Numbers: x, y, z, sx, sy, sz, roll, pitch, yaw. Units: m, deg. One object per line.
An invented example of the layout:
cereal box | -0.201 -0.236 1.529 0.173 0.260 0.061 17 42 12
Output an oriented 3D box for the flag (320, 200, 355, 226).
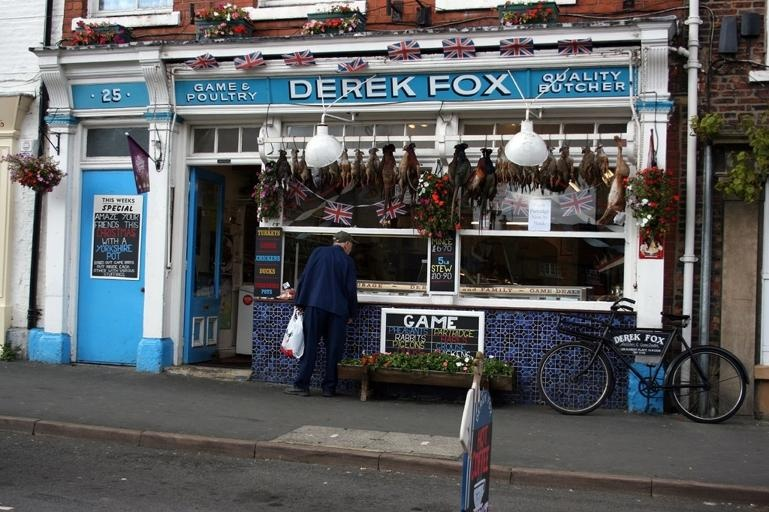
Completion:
flag | -0.780 -0.741 16.269 0.395 0.279 0.019 12 15 18

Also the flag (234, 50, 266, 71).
flag | -2.278 -3.292 16.236 0.457 0.273 0.122 -7 -6 13

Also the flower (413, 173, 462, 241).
flower | 0.857 -0.786 15.771 0.565 1.200 0.692 -1 0 2

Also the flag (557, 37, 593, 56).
flag | 3.057 -3.349 15.293 0.443 0.276 0.019 0 48 11

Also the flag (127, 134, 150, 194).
flag | -4.261 -1.571 16.675 0.337 1.080 0.504 -2 12 -15

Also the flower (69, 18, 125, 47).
flower | -5.052 -3.909 16.975 0.654 0.220 0.636 8 21 23

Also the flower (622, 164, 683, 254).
flower | 4.169 -0.743 14.756 0.657 1.426 0.669 -2 2 9

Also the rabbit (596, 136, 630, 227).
rabbit | 3.628 -1.228 15.059 0.371 1.298 0.527 8 12 23

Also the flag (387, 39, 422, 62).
flag | 0.328 -3.379 15.815 0.537 0.334 0.153 1 12 -1

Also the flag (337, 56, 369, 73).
flag | -0.532 -3.156 15.954 0.380 0.268 0.116 -20 4 6

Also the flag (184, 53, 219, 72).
flag | -3.116 -3.296 16.394 0.418 0.271 0.125 -5 27 4

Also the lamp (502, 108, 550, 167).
lamp | 2.158 -1.758 14.465 0.690 0.751 0.698 1 -8 -4

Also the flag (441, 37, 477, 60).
flag | 1.212 -3.388 15.661 0.547 0.344 0.198 2 12 3

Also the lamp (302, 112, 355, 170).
lamp | -0.941 -1.944 15.442 0.616 0.708 0.632 16 33 38

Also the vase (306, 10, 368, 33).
vase | -0.851 -3.913 16.147 0.676 0.247 0.447 0 3 11

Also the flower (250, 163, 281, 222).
flower | -1.956 -1.033 16.384 0.493 0.949 0.568 -4 7 -35

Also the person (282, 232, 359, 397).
person | -0.989 0.916 15.536 0.964 2.501 1.088 1 -3 -45

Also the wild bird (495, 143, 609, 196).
wild bird | 2.769 -1.448 15.546 2.082 1.011 0.708 -4 34 6
